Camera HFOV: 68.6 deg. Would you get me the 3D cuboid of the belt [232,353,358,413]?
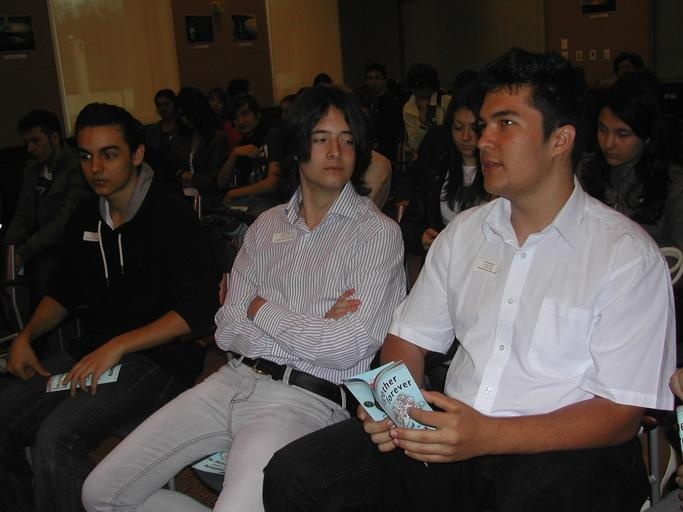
[{"bbox_3d":[-0.172,0.511,2.091,0.295,0.078,0.269,22,-4,0],"label":"belt"}]
